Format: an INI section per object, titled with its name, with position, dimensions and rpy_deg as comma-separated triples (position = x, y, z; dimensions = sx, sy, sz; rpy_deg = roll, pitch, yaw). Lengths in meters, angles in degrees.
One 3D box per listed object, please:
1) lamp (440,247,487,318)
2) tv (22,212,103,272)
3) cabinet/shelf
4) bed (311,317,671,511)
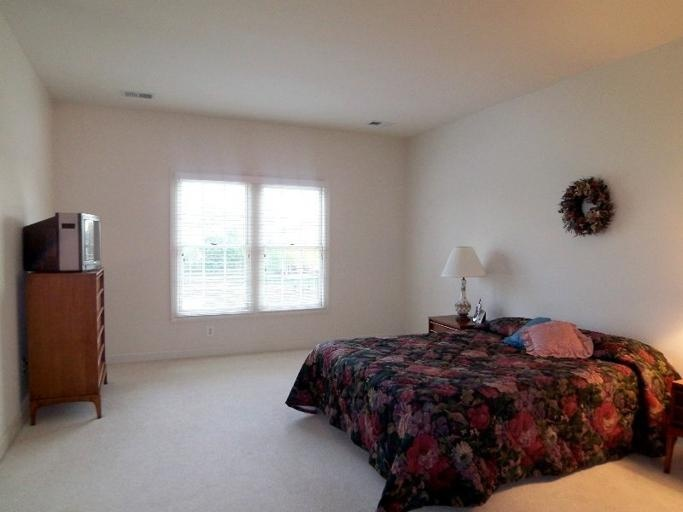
[lamp]
position = 1.371, 0.292, 5.452
dimensions = 0.463, 0.812, 0.468
rpy_deg = -1, 5, 5
[tv]
position = -2.503, -0.081, 4.394
dimensions = 0.707, 0.508, 0.717
rpy_deg = -7, -9, 37
[cabinet/shelf]
position = -2.371, 0.783, 4.123
dimensions = 0.565, 1.276, 0.255
rpy_deg = -3, 11, -16
[bed]
position = 1.126, 1.080, 3.508
dimensions = 1.628, 0.539, 1.398
rpy_deg = -2, 2, -25
